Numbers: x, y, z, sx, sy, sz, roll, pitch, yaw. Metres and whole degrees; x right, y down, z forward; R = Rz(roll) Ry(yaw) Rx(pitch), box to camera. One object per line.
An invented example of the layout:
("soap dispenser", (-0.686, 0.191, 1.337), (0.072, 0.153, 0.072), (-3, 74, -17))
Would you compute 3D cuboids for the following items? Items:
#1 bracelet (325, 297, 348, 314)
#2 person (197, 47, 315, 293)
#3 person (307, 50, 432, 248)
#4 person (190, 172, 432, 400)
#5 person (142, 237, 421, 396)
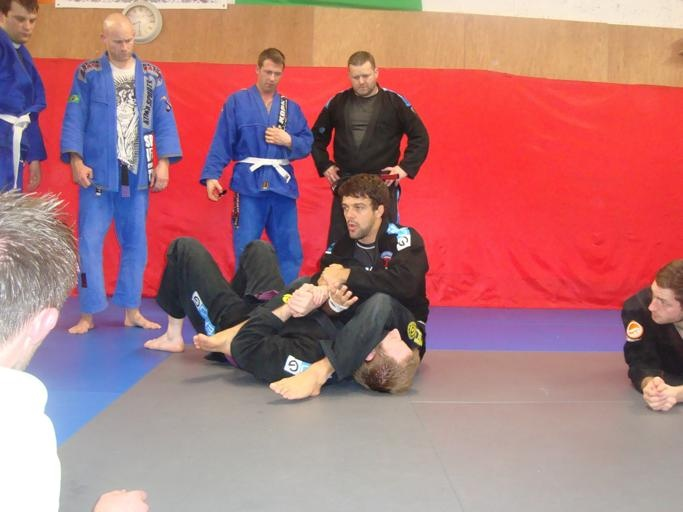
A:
("bracelet", (-0.019, 0.227, 2.926), (0.081, 0.065, 0.062), (48, 20, 6))
("person", (-0.565, -0.488, 4.154), (0.717, 1.649, 0.436), (-4, 26, -20))
("person", (0.178, -0.464, 4.256), (0.742, 1.695, 0.450), (2, 19, 10))
("person", (0.031, 0.128, 2.890), (0.691, 0.954, 0.865), (11, 15, 39))
("person", (-0.265, 0.316, 2.946), (1.076, 0.483, 0.707), (8, 1, 38))
